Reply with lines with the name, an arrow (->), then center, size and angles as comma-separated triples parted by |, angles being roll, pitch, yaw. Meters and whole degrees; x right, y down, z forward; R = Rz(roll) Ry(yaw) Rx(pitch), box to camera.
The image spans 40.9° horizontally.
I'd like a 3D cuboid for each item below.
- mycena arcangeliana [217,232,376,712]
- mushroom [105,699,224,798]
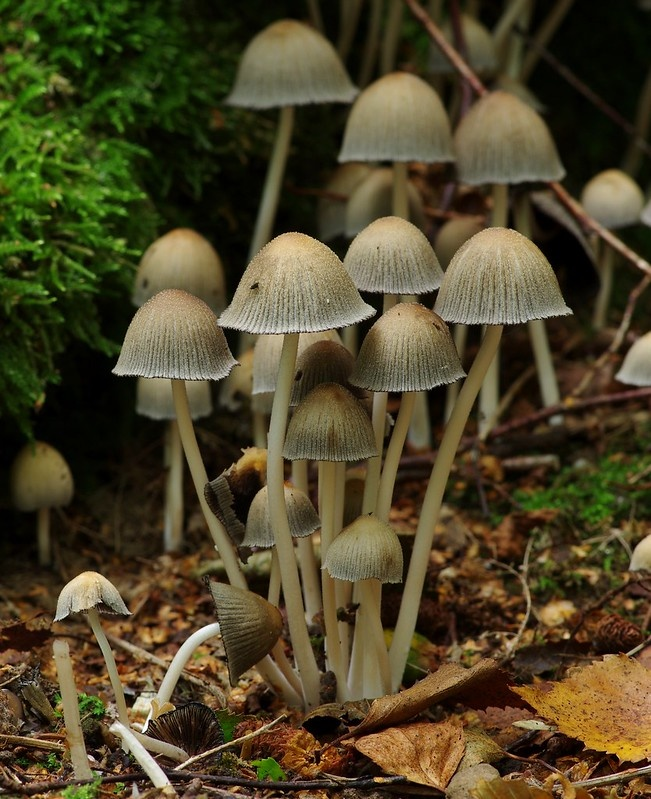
mycena arcangeliana -> -0.102, 0.236, 2.567 | 0.528, 1.454, 0.402 | 15, 26, 9
mushroom -> -0.454, 0.929, 2.371 | 0.364, 0.095, 0.292 | 8, 16, 23
